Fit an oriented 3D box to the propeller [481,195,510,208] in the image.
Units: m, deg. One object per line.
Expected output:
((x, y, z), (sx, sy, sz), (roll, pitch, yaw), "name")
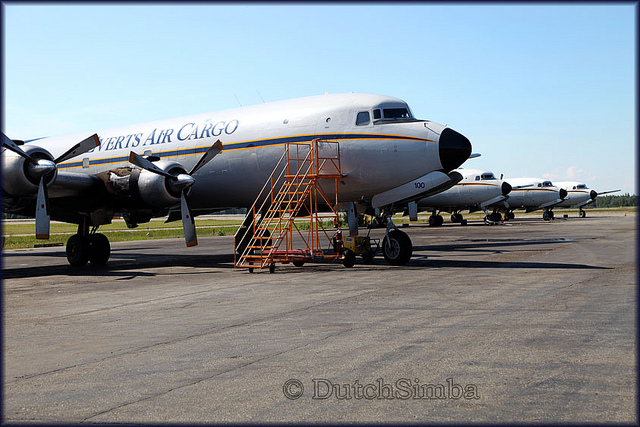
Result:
((15.097, -1.116, 45.121), (1.910, 0.488, 1.865), (-16, -7, 25), "propeller")

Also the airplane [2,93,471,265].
((-2.823, -1.540, 17.867), (9.384, 2.800, 10.461), (-3, 5, 33), "airplane")
